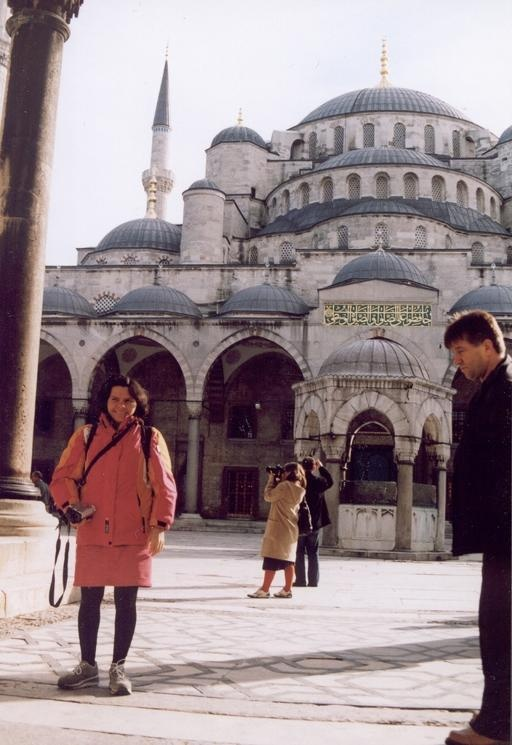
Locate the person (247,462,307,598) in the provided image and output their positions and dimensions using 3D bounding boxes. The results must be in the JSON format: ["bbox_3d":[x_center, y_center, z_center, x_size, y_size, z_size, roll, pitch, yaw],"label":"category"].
[{"bbox_3d":[0.163,1.204,8.214,0.368,1.069,0.765,3,-10,3],"label":"person"}]

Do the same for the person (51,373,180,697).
[{"bbox_3d":[-0.640,0.670,4.626,0.564,1.364,0.513,3,-10,5],"label":"person"}]

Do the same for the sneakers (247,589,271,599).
[{"bbox_3d":[0.023,1.652,7.877,0.150,0.064,0.062,4,-27,-9],"label":"sneakers"}]

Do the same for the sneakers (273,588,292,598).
[{"bbox_3d":[0.202,1.673,7.983,0.119,0.050,0.055,1,-14,9],"label":"sneakers"}]

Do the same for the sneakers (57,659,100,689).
[{"bbox_3d":[-0.725,1.258,4.381,0.189,0.088,0.071,14,-23,-32],"label":"sneakers"}]

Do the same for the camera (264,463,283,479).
[{"bbox_3d":[0.153,0.804,8.729,0.122,0.141,0.156,2,-33,-10],"label":"camera"}]

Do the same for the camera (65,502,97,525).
[{"bbox_3d":[-0.767,0.614,4.570,0.133,0.086,0.091,2,-10,10],"label":"camera"}]
